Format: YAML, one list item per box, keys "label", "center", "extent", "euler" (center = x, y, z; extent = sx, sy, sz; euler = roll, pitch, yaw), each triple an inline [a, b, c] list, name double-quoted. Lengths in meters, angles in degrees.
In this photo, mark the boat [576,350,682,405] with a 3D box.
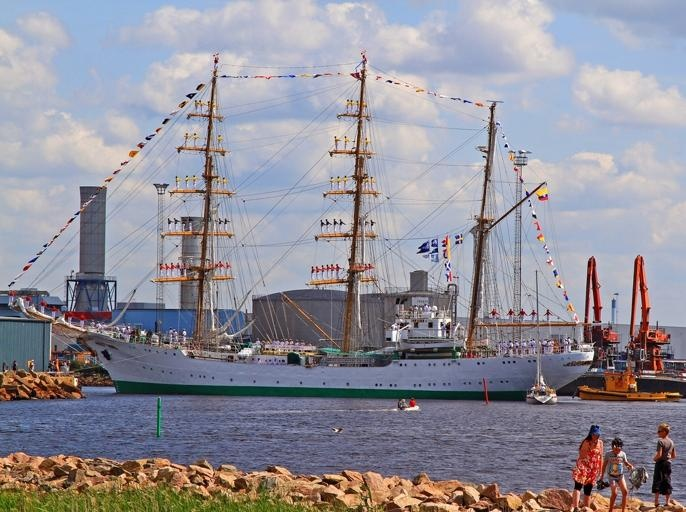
- label: "boat"
  center: [26.105, 12.157, 151.762]
  extent: [11.531, 5.986, 4.316]
  euler: [-1, 1, 0]
